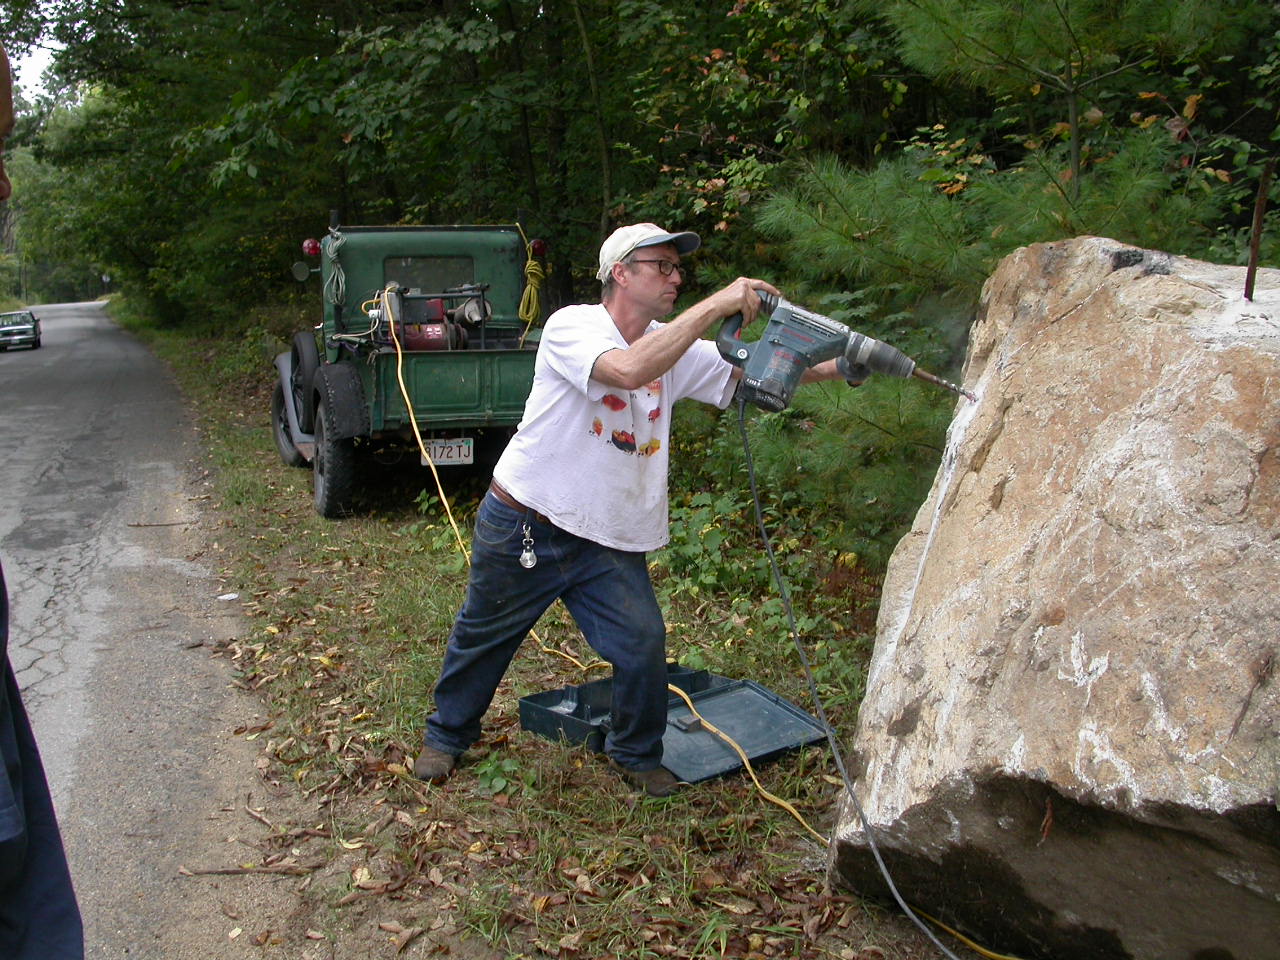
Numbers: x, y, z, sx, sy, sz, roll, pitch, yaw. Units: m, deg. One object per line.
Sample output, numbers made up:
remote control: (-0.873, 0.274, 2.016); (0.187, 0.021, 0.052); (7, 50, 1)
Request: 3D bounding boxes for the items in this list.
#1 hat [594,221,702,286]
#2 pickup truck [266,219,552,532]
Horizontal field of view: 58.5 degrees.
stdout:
hat: (0.031, -0.844, 4.241); (0.361, 0.205, 0.295); (-4, 12, 1)
pickup truck: (-1.766, -0.880, 8.511); (1.593, 1.867, 3.964); (-1, 3, -21)
